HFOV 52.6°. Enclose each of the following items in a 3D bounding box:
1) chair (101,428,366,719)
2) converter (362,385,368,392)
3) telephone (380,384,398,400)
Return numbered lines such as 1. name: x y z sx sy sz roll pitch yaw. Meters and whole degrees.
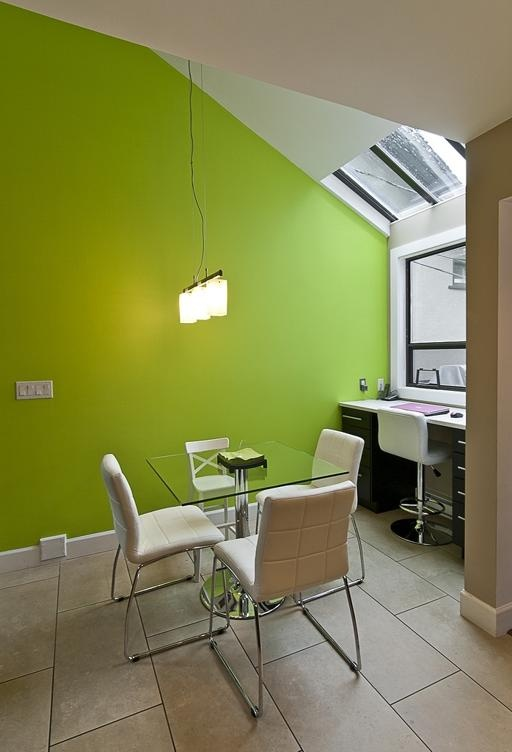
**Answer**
1. chair: -0.240 0.611 2.349 0.496 1.217 1.523 -1 0 -22
2. converter: 0.836 0.100 3.998 0.047 0.063 0.037 -5 11 -30
3. telephone: 1.029 0.135 4.014 0.096 0.136 0.113 2 -1 -14
